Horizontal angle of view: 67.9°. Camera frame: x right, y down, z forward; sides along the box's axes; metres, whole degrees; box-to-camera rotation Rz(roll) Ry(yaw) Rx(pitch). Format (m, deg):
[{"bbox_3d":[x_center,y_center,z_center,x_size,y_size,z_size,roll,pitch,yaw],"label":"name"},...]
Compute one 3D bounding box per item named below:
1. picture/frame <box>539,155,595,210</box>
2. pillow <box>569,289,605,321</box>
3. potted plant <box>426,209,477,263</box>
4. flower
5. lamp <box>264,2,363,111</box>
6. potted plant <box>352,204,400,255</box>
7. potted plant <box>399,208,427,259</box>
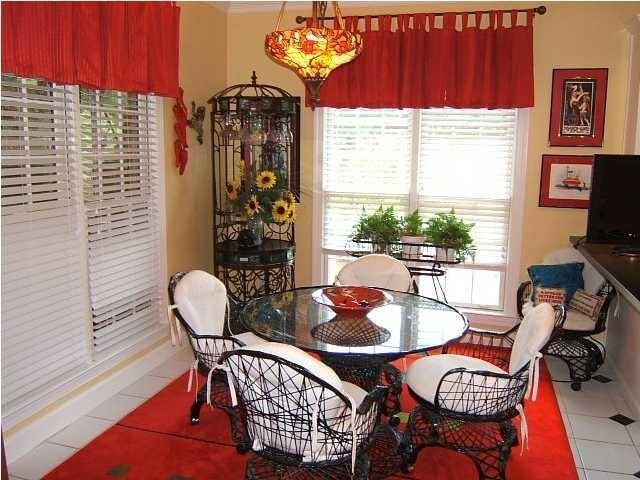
[{"bbox_3d":[2.392,-0.567,4.551,0.567,0.554,0.020,2,4,1],"label":"picture/frame"},{"bbox_3d":[2.339,0.574,4.157,0.076,0.194,0.277,23,-1,-9],"label":"pillow"},{"bbox_3d":[1.251,-0.068,4.609,0.499,0.470,0.472,-6,11,-28],"label":"potted plant"},{"bbox_3d":[-0.588,-0.408,4.665,0.654,0.523,0.427,-2,15,-12],"label":"flower"},{"bbox_3d":[0.010,-1.258,3.205,0.548,0.746,1.370,2,14,5],"label":"lamp"},{"bbox_3d":[0.595,-0.119,4.877,0.476,0.496,0.476,1,8,14],"label":"potted plant"},{"bbox_3d":[0.920,-0.060,4.659,0.240,0.424,0.366,3,15,10],"label":"potted plant"}]
